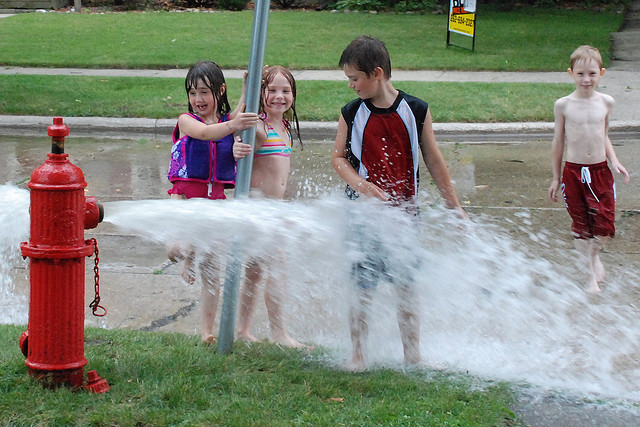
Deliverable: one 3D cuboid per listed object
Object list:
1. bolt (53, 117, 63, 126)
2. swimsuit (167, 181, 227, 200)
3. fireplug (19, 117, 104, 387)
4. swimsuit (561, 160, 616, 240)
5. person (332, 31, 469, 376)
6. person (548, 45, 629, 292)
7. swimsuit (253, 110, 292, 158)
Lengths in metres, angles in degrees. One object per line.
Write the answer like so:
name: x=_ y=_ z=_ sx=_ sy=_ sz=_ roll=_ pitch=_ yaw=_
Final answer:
bolt: x=-1.670 y=-0.588 z=5.056 sx=0.080 sy=0.052 sz=0.066 roll=0 pitch=-2 yaw=-16
swimsuit: x=-0.950 y=-0.180 z=5.979 sx=0.450 sy=0.135 sz=0.177 roll=4 pitch=15 yaw=11
fireplug: x=-1.813 y=0.327 z=5.166 sx=0.622 sy=1.765 sz=0.601 roll=4 pitch=-3 yaw=-6
swimsuit: x=2.331 y=-0.114 z=7.084 sx=0.420 sy=0.694 sz=0.435 roll=-1 pitch=0 yaw=5
person: x=0.501 y=-0.055 z=5.593 sx=0.839 sy=2.325 sz=0.593 roll=1 pitch=16 yaw=1
person: x=2.379 y=-0.429 z=6.981 sx=0.573 sy=2.034 sz=0.836 roll=-2 pitch=16 yaw=-11
swimsuit: x=-0.382 y=-0.615 z=6.049 sx=0.322 sy=0.405 sz=0.269 roll=-3 pitch=-3 yaw=-41
